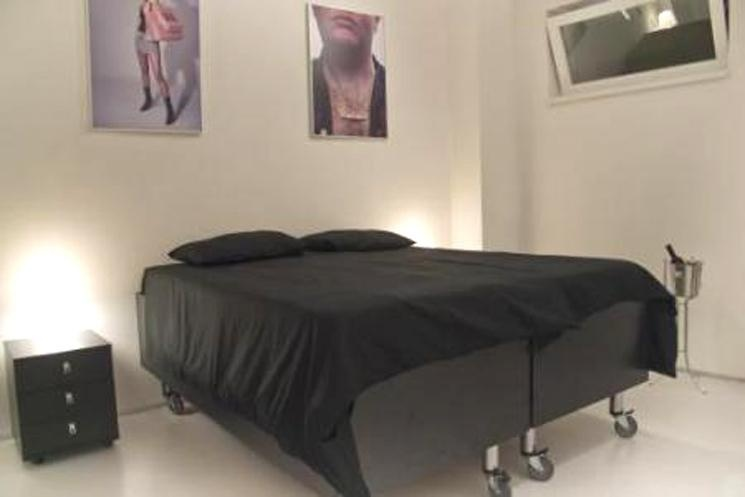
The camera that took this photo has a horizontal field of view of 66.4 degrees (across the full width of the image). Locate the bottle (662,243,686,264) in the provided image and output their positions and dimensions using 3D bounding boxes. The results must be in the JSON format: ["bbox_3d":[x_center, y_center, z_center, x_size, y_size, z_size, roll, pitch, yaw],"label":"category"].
[{"bbox_3d":[2.325,0.036,4.355,0.087,0.016,0.193,-8,31,-26],"label":"bottle"}]

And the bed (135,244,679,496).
[{"bbox_3d":[-0.203,0.497,3.136,1.689,0.565,1.662,-3,5,-42],"label":"bed"}]

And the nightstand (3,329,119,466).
[{"bbox_3d":[-1.837,0.844,3.595,0.663,0.697,0.714,-2,3,-42],"label":"nightstand"}]
